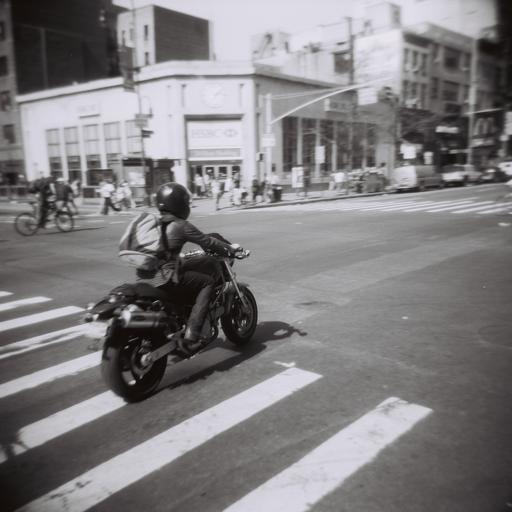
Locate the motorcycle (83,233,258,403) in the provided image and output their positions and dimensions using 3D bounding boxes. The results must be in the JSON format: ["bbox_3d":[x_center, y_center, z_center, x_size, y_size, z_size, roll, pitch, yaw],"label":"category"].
[{"bbox_3d":[-0.638,0.483,4.933,0.831,1.164,2.224,3,10,30],"label":"motorcycle"}]

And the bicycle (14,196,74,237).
[{"bbox_3d":[-6.765,-1.323,16.486,0.984,1.271,1.912,2,11,22],"label":"bicycle"}]

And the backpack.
[{"bbox_3d":[-0.913,-0.126,4.409,0.491,0.457,0.363,1,0,-42],"label":"backpack"}]

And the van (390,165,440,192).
[{"bbox_3d":[11.564,-5.669,37.972,1.871,1.780,5.596,7,13,39],"label":"van"}]

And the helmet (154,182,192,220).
[{"bbox_3d":[-0.725,-0.489,4.641,0.331,0.323,0.258,1,5,-38],"label":"helmet"}]

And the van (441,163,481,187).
[{"bbox_3d":[16.597,-6.626,43.124,1.776,1.645,8.419,5,11,32],"label":"van"}]

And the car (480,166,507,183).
[{"bbox_3d":[22.085,-7.570,48.644,2.058,1.345,1.687,1,10,18],"label":"car"}]
